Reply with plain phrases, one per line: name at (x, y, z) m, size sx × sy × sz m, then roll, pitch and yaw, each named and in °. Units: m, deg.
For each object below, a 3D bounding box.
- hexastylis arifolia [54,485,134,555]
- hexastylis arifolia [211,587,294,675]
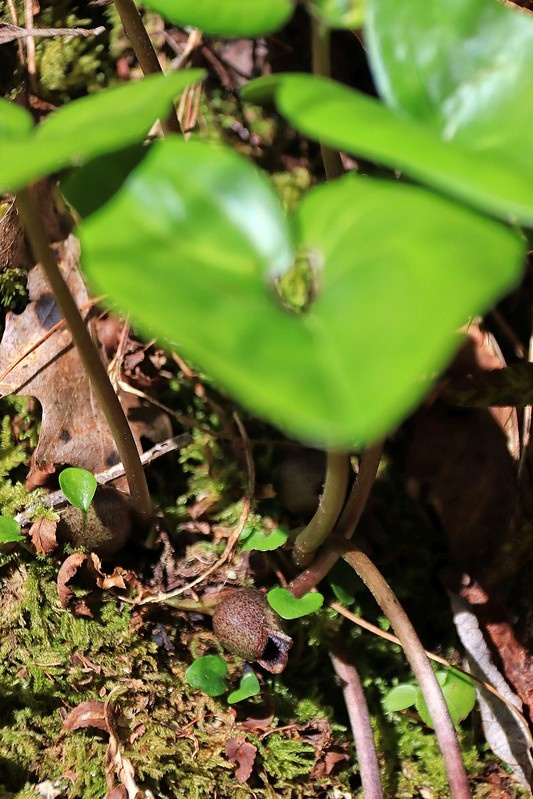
hexastylis arifolia at (-0.265, 0.179, 1.189) m, size 0.116 × 0.081 × 0.088 m, roll -27°, pitch 27°, yaw -4°
hexastylis arifolia at (-0.027, 0.364, 1.153) m, size 0.125 × 0.121 × 0.154 m, roll 0°, pitch 25°, yaw -8°
